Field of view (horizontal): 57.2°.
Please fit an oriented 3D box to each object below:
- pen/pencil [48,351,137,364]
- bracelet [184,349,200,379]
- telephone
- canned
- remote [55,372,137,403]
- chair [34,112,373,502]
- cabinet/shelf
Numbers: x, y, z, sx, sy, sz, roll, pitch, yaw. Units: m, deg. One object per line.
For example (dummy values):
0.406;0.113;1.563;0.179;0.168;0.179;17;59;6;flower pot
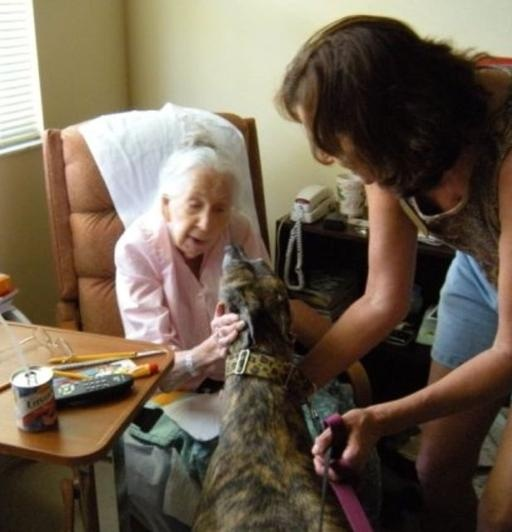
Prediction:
-0.318;0.177;0.909;0.139;0.019;0.012;-2;16;-5;pen/pencil
-0.167;0.258;1.220;0.019;0.058;0.042;-14;40;-11;bracelet
0.244;-0.095;2.096;0.135;0.460;0.248;13;-9;-35;telephone
-0.344;0.205;0.732;0.059;0.088;0.077;-9;17;-30;canned
-0.272;0.205;0.790;0.109;0.025;0.055;-6;25;-6;remote
-0.252;-0.075;1.882;0.795;1.417;1.089;-10;16;-16;chair
0.464;0.159;2.179;0.932;1.089;0.733;2;6;-6;cabinet/shelf
